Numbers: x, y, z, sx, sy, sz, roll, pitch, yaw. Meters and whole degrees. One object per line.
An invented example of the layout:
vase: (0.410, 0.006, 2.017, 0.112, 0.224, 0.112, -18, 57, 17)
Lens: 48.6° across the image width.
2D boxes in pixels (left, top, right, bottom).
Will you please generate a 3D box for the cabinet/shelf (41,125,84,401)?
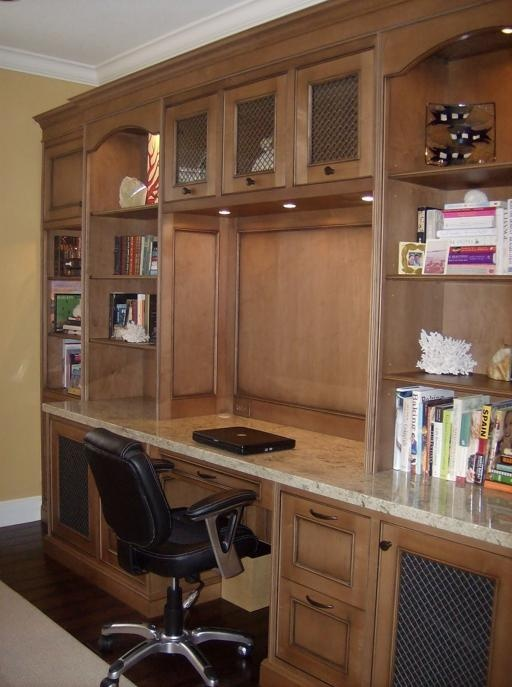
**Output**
cabinet/shelf: (-1.227, -0.464, 3.558, 0.276, 1.660, 0.470, -3, 6, -22)

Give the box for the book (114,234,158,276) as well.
book: (-0.663, -0.489, 3.155, 0.154, 0.262, 0.279, -4, 8, -35)

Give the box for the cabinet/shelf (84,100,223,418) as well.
cabinet/shelf: (-0.504, -0.414, 2.960, 0.471, 1.575, 1.105, -5, 7, -37)

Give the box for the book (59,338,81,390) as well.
book: (-1.201, 0.132, 3.705, 0.210, 0.297, 0.087, 4, -5, -37)

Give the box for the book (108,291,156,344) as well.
book: (-0.696, -0.146, 3.206, 0.094, 0.257, 0.289, -3, 6, -39)
